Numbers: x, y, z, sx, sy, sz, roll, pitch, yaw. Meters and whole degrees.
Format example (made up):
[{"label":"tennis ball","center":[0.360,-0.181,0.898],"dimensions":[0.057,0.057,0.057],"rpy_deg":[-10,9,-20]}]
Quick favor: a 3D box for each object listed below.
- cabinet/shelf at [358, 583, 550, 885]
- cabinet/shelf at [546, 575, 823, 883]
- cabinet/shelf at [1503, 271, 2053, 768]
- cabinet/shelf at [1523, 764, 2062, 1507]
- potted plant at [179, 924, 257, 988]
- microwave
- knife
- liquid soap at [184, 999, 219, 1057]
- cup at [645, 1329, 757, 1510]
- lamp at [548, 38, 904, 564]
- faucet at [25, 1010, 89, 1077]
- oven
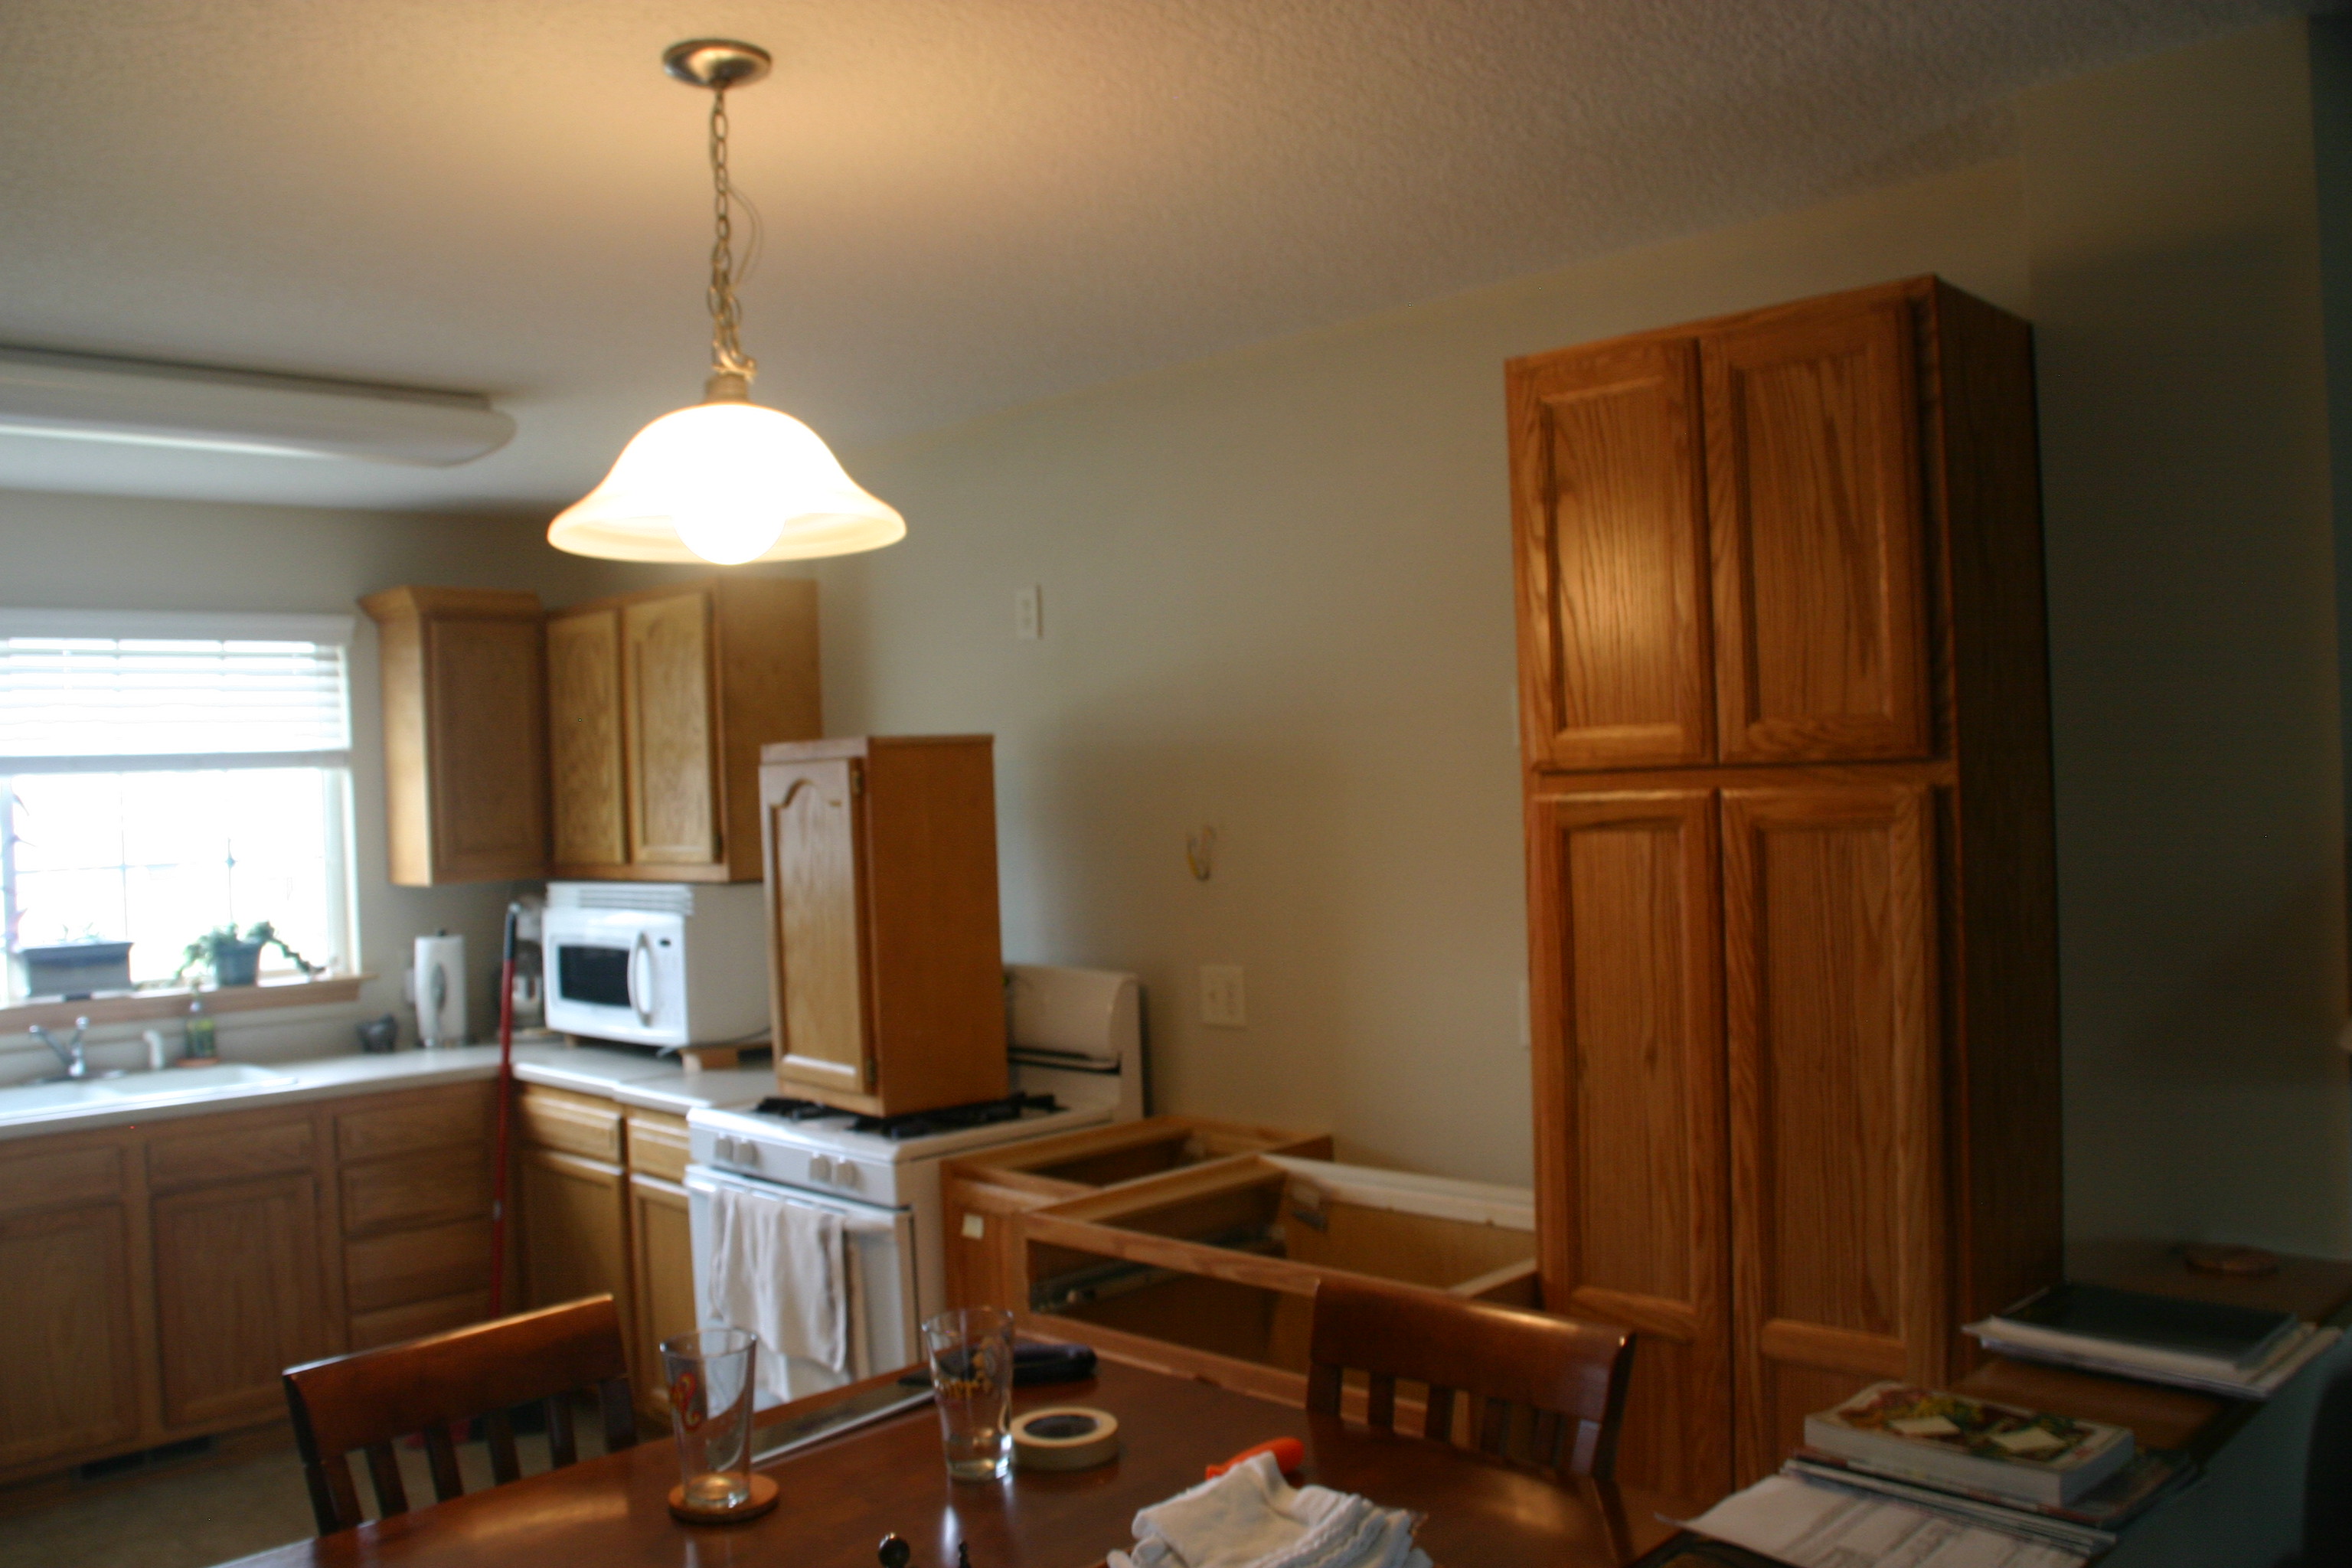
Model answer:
[{"label":"cabinet/shelf","center":[-2.418,-0.147,6.124],"dimensions":[0.353,0.941,0.500],"rpy_deg":[5,7,43]},{"label":"cabinet/shelf","center":[-1.614,-0.160,5.848],"dimensions":[0.402,0.896,1.117],"rpy_deg":[-2,1,-44]},{"label":"cabinet/shelf","center":[1.152,-0.463,3.360],"dimensions":[0.987,0.897,0.511],"rpy_deg":[-5,-4,45]},{"label":"cabinet/shelf","center":[1.257,0.817,3.541],"dimensions":[0.554,1.635,0.957],"rpy_deg":[4,-6,-36]},{"label":"potted plant","center":[-3.070,0.551,5.759],"dimensions":[0.202,0.155,0.211],"rpy_deg":[0,-11,-12]},{"label":"microwave","center":[-1.627,0.535,5.507],"dimensions":[0.788,0.546,0.531],"rpy_deg":[3,-2,36]},{"label":"knife","center":[-0.430,0.974,2.829],"dimensions":[0.172,0.042,0.572],"rpy_deg":[5,5,43]},{"label":"liquid soap","center":[-3.122,0.775,5.742],"dimensions":[0.100,0.227,0.085],"rpy_deg":[-6,2,-27]},{"label":"cup","center":[-0.668,0.905,2.615],"dimensions":[0.126,0.259,0.189],"rpy_deg":[-5,1,-15]},{"label":"lamp","center":[-0.798,-0.826,3.310],"dimensions":[0.564,0.856,0.829],"rpy_deg":[-5,1,2]},{"label":"faucet","center":[-3.424,0.816,5.514],"dimensions":[0.158,0.211,0.115],"rpy_deg":[-6,2,-32]},{"label":"oven","center":[-0.888,1.293,4.656],"dimensions":[0.727,0.557,0.426],"rpy_deg":[4,6,33]}]
